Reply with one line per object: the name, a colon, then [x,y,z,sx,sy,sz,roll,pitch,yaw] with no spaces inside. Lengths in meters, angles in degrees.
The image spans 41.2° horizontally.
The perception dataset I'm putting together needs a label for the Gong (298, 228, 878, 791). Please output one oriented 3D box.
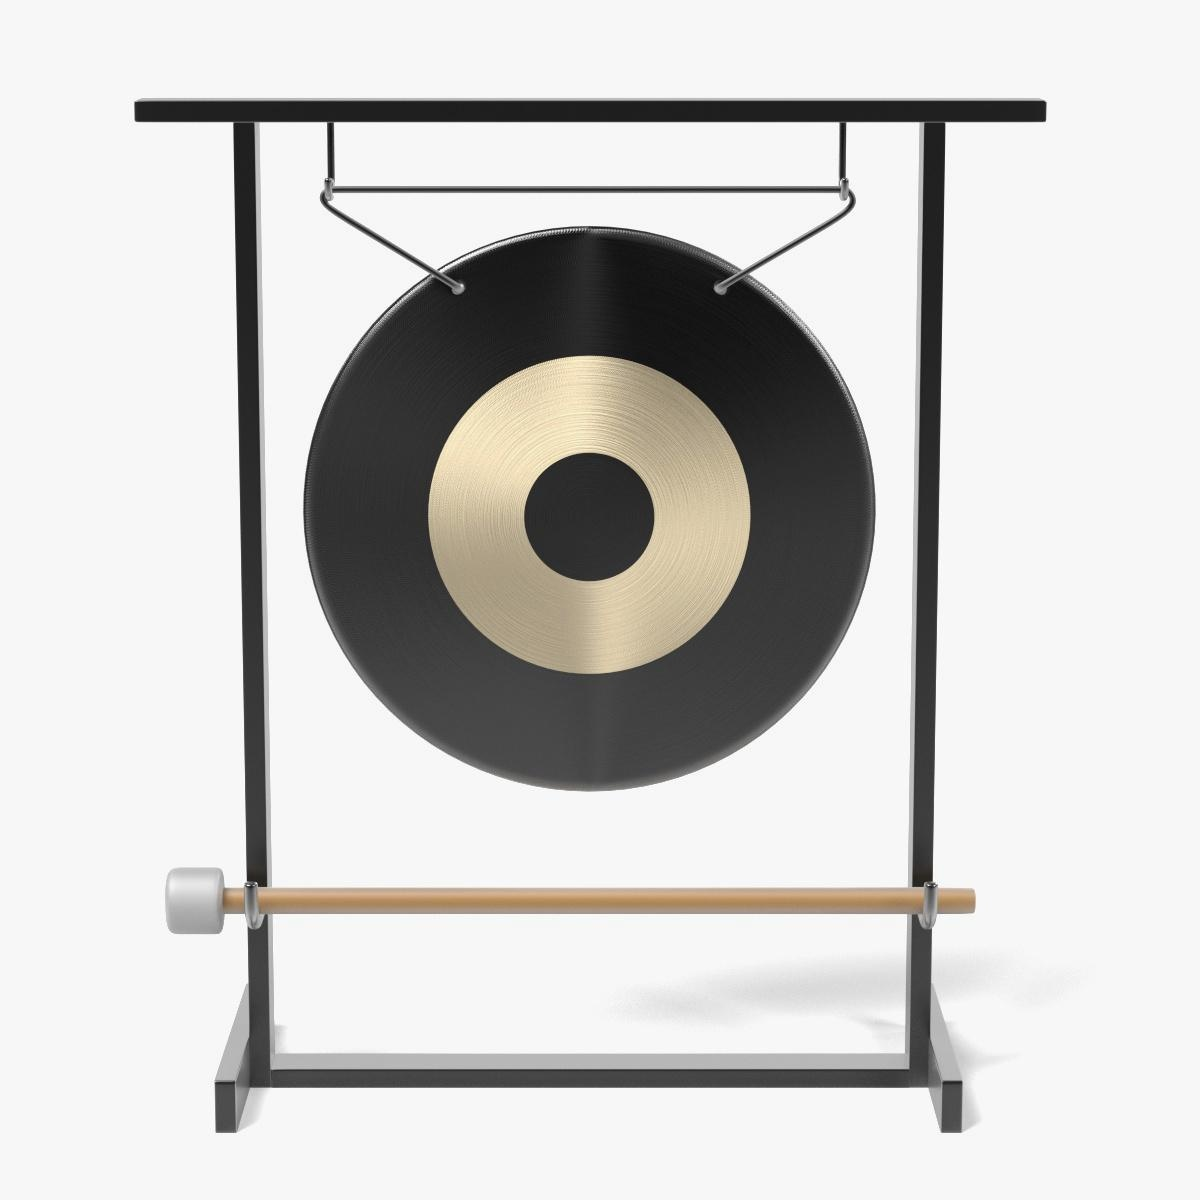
Gong: [-0.018,-0.162,2.514,0.870,0.042,0.902,0,-84,-1]
